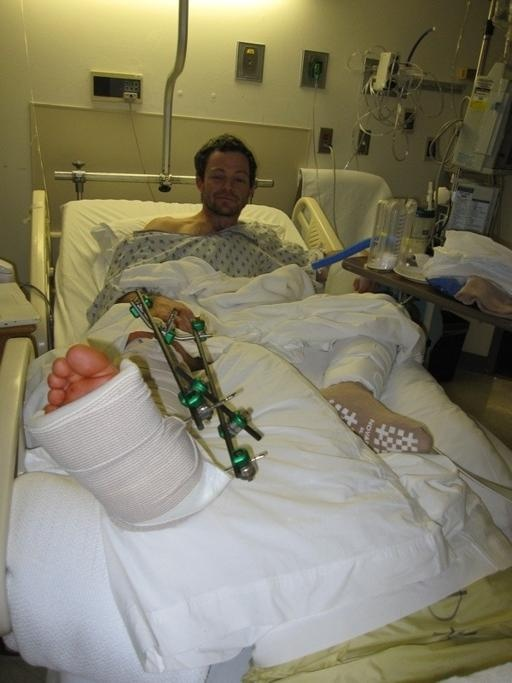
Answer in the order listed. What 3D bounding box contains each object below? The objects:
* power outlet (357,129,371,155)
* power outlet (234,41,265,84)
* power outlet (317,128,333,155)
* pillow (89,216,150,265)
[{"bbox_3d":[0.640,-1.181,3.042,0.100,0.125,0.031,-1,16,-21],"label":"power outlet"},{"bbox_3d":[-0.040,-1.449,2.641,0.215,0.225,0.032,-5,27,-20],"label":"power outlet"},{"bbox_3d":[0.398,-1.164,3.004,0.119,0.167,0.039,1,8,-13],"label":"power outlet"},{"bbox_3d":[-0.575,-0.429,2.151,0.199,0.066,0.228,40,47,15],"label":"pillow"}]
